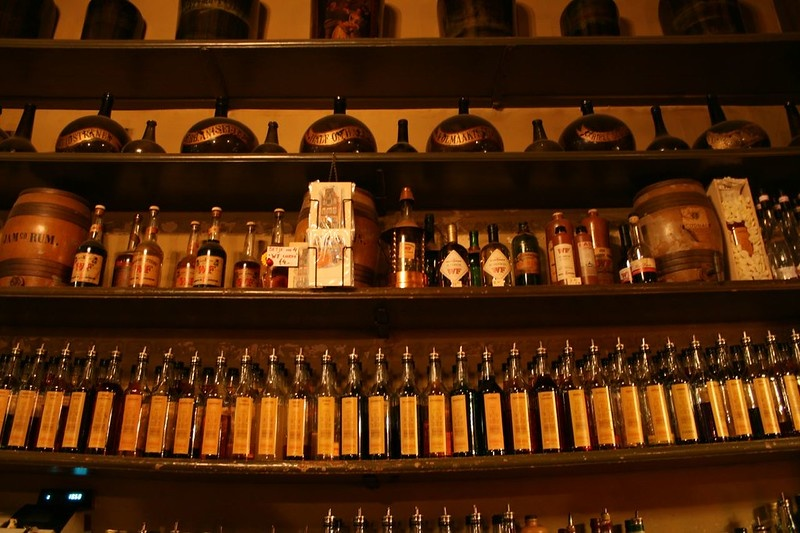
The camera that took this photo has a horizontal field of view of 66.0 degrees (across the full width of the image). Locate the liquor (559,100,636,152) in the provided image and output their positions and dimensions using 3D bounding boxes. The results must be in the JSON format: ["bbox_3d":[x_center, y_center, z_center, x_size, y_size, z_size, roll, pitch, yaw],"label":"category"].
[{"bbox_3d":[0.815,-0.559,2.547,0.235,0.196,0.210,-5,-15,1],"label":"liquor"}]

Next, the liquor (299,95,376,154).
[{"bbox_3d":[-0.260,-0.551,2.479,0.252,0.220,0.237,0,-17,0],"label":"liquor"}]

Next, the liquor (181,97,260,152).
[{"bbox_3d":[-0.769,-0.582,2.632,0.317,0.279,0.309,1,2,14],"label":"liquor"}]
